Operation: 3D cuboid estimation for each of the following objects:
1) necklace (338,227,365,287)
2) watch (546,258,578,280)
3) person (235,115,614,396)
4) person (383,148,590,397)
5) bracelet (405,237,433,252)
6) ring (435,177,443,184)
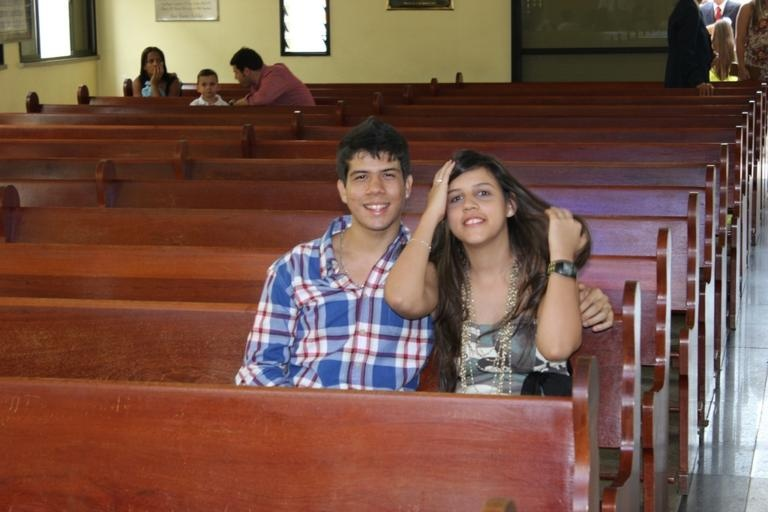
[{"bbox_3d":[-0.125,-0.002,2.786,0.123,0.175,0.043,-1,-12,-2],"label":"necklace"},{"bbox_3d":[0.576,0.054,2.622,0.083,0.051,0.083,9,-9,-24],"label":"watch"},{"bbox_3d":[-0.156,-0.019,2.732,0.665,0.910,0.310,0,3,-12],"label":"person"},{"bbox_3d":[0.343,0.082,2.764,0.672,0.956,0.549,-14,-25,35],"label":"person"},{"bbox_3d":[0.117,-0.044,2.725,0.081,0.046,0.052,1,2,0],"label":"bracelet"},{"bbox_3d":[0.186,-0.259,2.757,0.009,0.022,0.022,13,-26,-33],"label":"ring"}]
